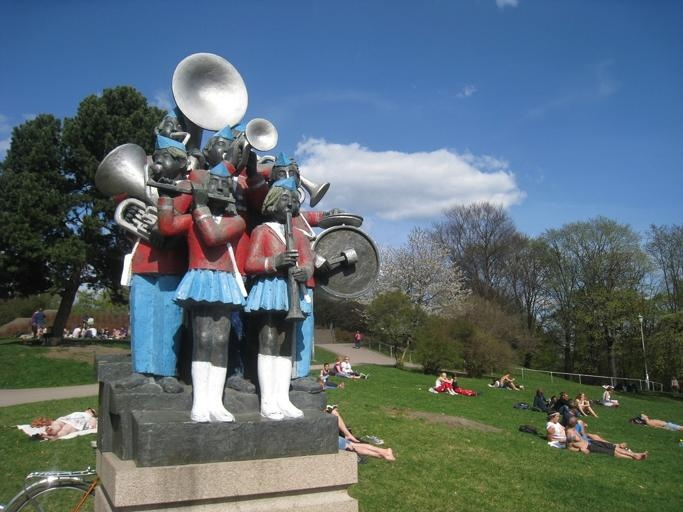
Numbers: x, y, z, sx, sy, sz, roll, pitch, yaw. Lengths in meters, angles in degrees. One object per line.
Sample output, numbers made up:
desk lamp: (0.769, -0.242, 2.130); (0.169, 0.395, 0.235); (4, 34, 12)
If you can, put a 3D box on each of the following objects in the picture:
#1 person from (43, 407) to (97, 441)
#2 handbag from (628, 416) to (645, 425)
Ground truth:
person: (-6.312, 4.008, 12.015); (0.511, 0.326, 1.027); (5, 2, 22)
handbag: (12.034, 6.785, 20.744); (0.354, 0.170, 0.257); (14, 15, 36)
